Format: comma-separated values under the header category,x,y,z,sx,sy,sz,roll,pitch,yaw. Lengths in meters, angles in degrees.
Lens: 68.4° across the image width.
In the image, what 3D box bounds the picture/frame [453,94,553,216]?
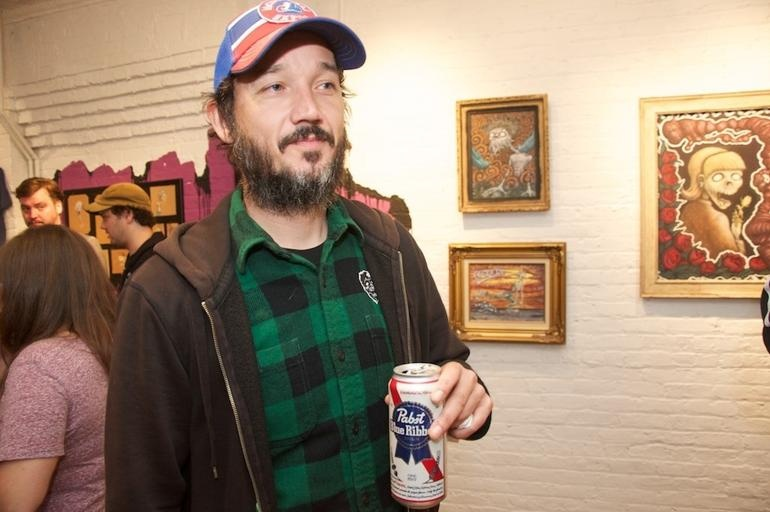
category,x,y,z,sx,sy,sz,roll,pitch,yaw
picture/frame,0.794,-0.678,3.687,0.817,1.005,0.109,0,4,12

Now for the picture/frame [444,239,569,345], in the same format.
category,x,y,z,sx,sy,sz,roll,pitch,yaw
picture/frame,0.822,0.229,3.681,0.721,0.647,0.067,0,0,12

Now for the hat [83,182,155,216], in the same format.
category,x,y,z,sx,sy,sz,roll,pitch,yaw
hat,-1.933,-0.400,4.081,0.377,0.190,0.243,6,2,-12
